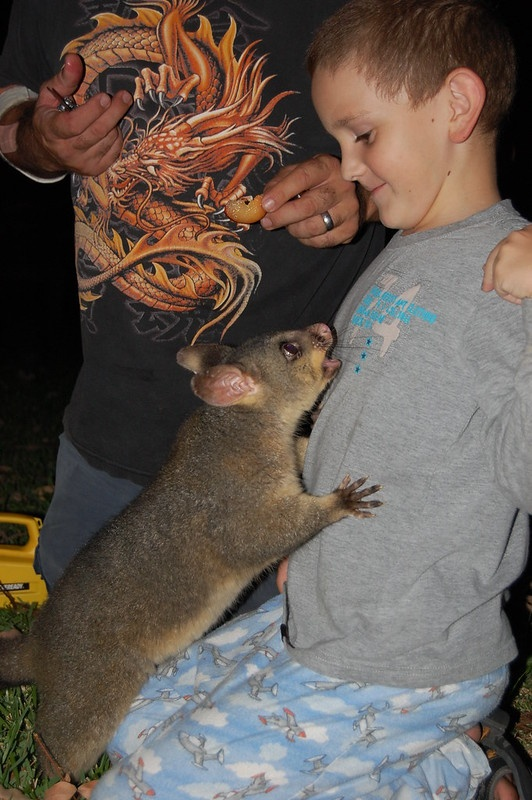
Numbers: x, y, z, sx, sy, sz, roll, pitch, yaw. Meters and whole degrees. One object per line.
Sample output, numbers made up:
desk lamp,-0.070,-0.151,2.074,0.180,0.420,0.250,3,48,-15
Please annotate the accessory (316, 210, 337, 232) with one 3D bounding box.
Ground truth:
accessory,0.252,-0.733,3.186,0.073,0.069,0.069,-14,42,3
